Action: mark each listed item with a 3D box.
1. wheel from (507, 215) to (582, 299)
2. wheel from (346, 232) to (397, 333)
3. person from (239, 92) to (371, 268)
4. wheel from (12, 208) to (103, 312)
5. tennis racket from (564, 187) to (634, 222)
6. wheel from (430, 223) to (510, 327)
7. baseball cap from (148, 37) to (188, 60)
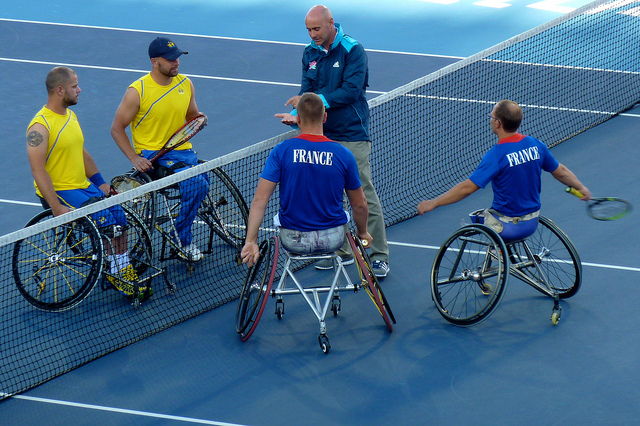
[{"bbox_3d":[3.099,0.601,10.683,0.298,1.401,1.374,-30,39,-20],"label":"wheel"},{"bbox_3d":[0.671,0.891,10.385,0.179,1.585,1.610,-23,20,1],"label":"wheel"},{"bbox_3d":[-0.178,-0.363,9.546,1.590,1.830,0.692,-7,31,-13],"label":"person"},{"bbox_3d":[-3.503,0.602,10.222,1.454,1.370,0.111,-23,-12,16],"label":"wheel"},{"bbox_3d":[4.038,-0.090,10.787,0.633,0.137,1.016,-13,22,-19],"label":"tennis racket"},{"bbox_3d":[1.976,0.812,10.053,1.441,1.322,0.336,17,-7,-32],"label":"wheel"},{"bbox_3d":[-2.172,-2.299,10.862,0.499,0.252,0.308,-7,20,12],"label":"baseball cap"}]
